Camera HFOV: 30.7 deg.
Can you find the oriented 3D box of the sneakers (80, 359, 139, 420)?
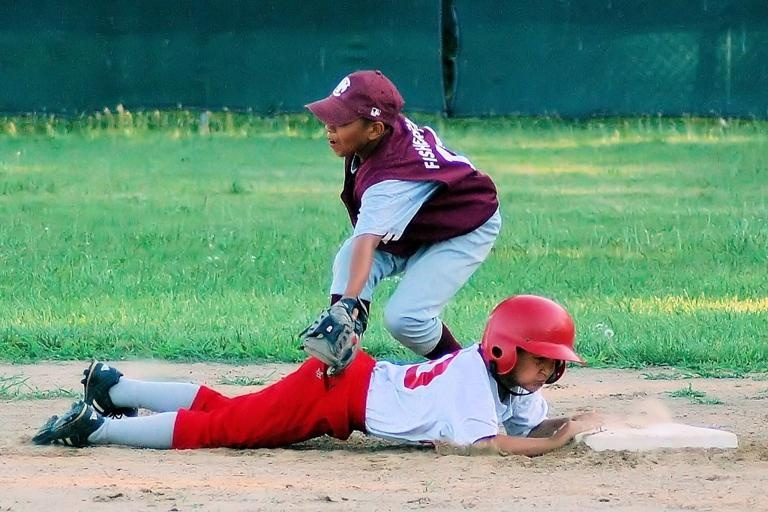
[{"bbox_3d":[-2.056,0.977,10.178,0.654,0.269,0.212,26,-10,-13],"label":"sneakers"}]

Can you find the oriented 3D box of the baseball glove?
[{"bbox_3d":[-0.341,0.545,9.893,0.515,0.484,0.239,-1,3,-16],"label":"baseball glove"}]

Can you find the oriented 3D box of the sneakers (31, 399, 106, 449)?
[{"bbox_3d":[-2.202,1.215,9.996,0.664,0.210,0.286,-5,16,16],"label":"sneakers"}]

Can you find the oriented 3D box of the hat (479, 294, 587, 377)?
[{"bbox_3d":[1.085,0.586,10.042,0.803,0.532,0.596,10,8,31],"label":"hat"}]
